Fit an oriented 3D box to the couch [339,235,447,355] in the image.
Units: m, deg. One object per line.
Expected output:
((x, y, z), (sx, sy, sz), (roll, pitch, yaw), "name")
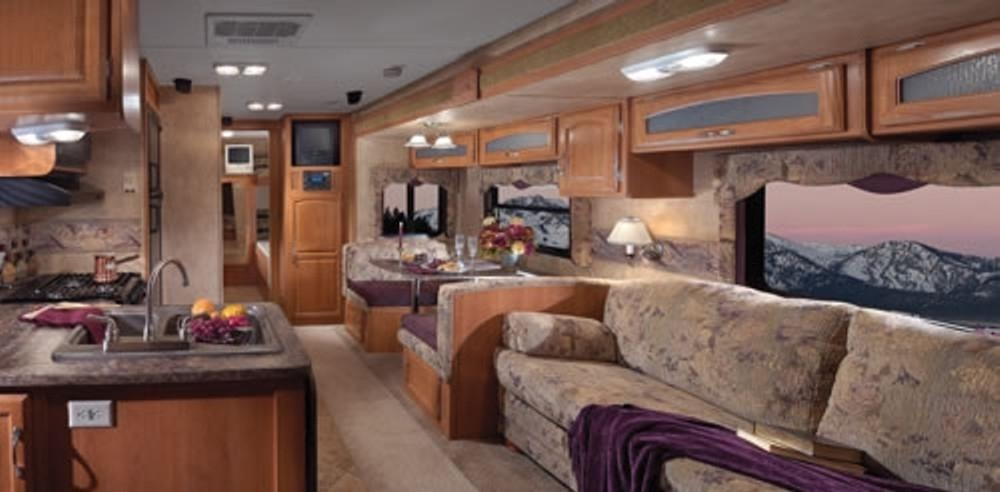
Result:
((-1.524, 0.557, 7.800), (1.583, 1.001, 1.418), (0, 3, -27), "couch")

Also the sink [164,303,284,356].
((-1.608, 0.526, 3.996), (0.459, 0.116, 0.377), (-7, 14, -41), "sink")

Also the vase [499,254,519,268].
((0.082, 0.139, 6.627), (0.185, 0.092, 0.154), (2, 10, 5), "vase")

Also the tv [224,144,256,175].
((-4.422, -1.471, 10.932), (0.436, 0.517, 0.501), (-3, 6, -19), "tv")

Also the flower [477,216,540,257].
((0.078, -0.108, 6.615), (0.577, 0.333, 0.508), (0, 4, -20), "flower")

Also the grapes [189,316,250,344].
((-1.788, 0.530, 4.126), (0.381, 0.170, 0.169), (-2, 5, -16), "grapes")

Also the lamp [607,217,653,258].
((1.118, -0.088, 5.576), (0.437, 0.328, 0.413), (-2, 5, -30), "lamp")

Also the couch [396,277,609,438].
((-0.152, 0.850, 5.911), (1.701, 1.034, 1.932), (1, 1, -12), "couch")

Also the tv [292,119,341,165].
((-2.497, -1.405, 8.679), (0.874, 0.614, 0.074), (0, 4, -9), "tv")
